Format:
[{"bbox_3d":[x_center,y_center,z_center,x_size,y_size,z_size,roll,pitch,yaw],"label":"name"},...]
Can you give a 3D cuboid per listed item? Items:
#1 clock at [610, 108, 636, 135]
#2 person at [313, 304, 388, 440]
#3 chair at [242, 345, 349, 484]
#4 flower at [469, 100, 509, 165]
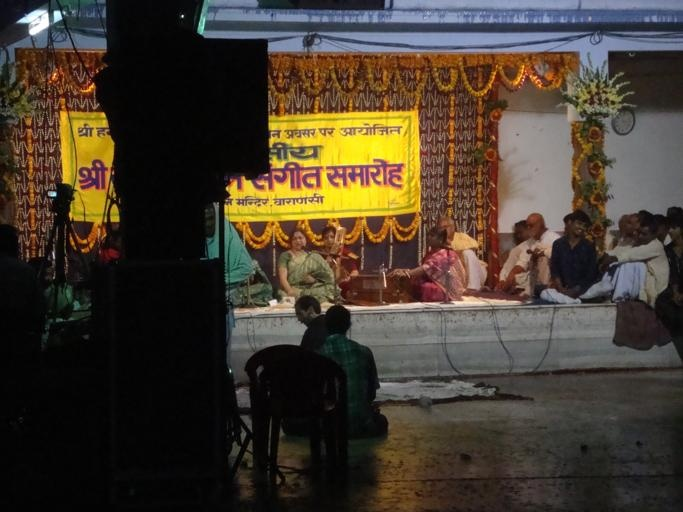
[{"bbox_3d":[3.206,-1.512,10.776,0.255,0.298,0.065,-14,0,7],"label":"clock"},{"bbox_3d":[0.050,1.096,8.779,0.750,1.307,0.777,0,-13,-23],"label":"person"},{"bbox_3d":[-0.379,1.263,7.818,0.852,1.029,0.445,2,11,1],"label":"chair"},{"bbox_3d":[1.731,-1.410,11.043,0.351,0.943,0.098,-1,38,4],"label":"flower"}]
